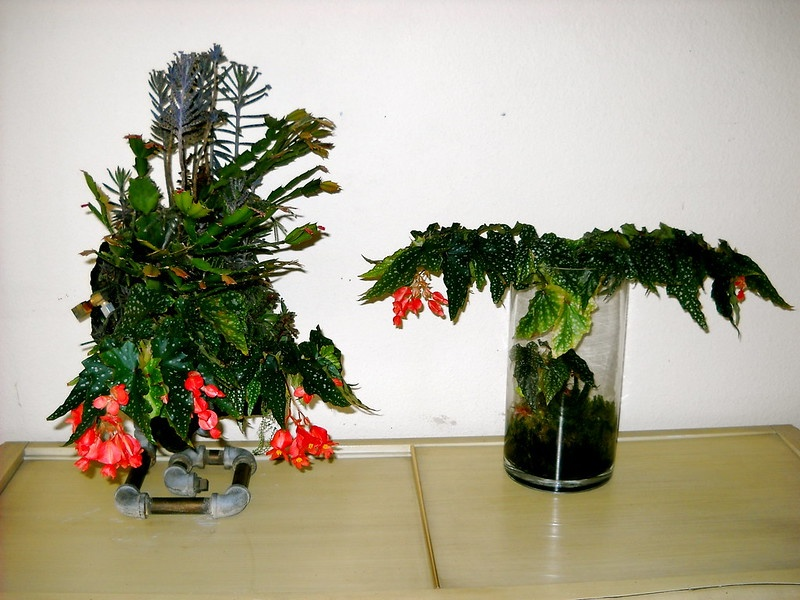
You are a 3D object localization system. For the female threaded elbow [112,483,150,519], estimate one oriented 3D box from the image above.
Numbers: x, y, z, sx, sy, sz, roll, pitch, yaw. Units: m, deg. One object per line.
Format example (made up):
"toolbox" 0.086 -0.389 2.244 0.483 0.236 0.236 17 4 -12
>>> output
"female threaded elbow" -0.438 0.329 1.085 0.055 0.061 0.043 20 -15 -31

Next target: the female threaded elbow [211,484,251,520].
"female threaded elbow" -0.279 0.334 1.102 0.060 0.041 0.022 -17 -14 -16

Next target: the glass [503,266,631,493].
"glass" 0.291 0.111 1.206 0.218 0.396 0.224 4 15 -2

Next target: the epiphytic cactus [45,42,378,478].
"epiphytic cactus" -0.314 -0.044 1.108 0.494 0.748 0.426 0 11 -6

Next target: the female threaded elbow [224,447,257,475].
"female threaded elbow" -0.289 0.280 1.212 0.053 0.049 0.064 11 10 -9

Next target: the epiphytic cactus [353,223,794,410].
"epiphytic cactus" 0.268 -0.038 1.063 0.507 0.227 0.357 -13 19 -9

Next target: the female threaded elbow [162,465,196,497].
"female threaded elbow" -0.373 0.309 1.130 0.056 0.047 0.042 11 1 25
